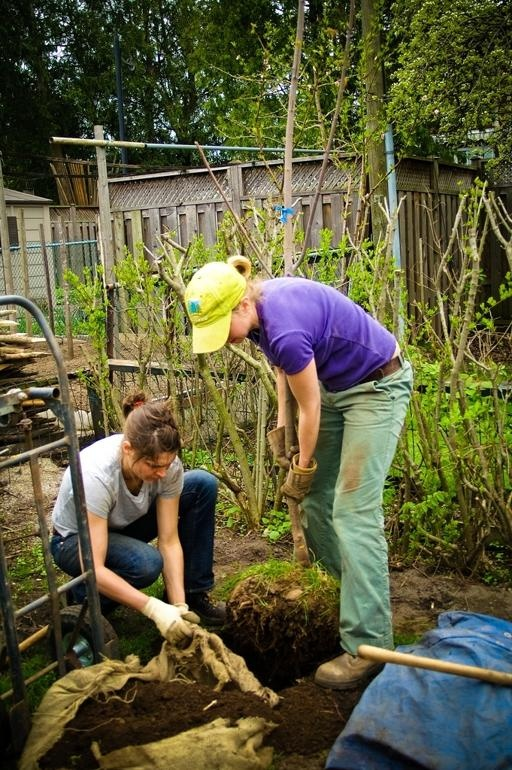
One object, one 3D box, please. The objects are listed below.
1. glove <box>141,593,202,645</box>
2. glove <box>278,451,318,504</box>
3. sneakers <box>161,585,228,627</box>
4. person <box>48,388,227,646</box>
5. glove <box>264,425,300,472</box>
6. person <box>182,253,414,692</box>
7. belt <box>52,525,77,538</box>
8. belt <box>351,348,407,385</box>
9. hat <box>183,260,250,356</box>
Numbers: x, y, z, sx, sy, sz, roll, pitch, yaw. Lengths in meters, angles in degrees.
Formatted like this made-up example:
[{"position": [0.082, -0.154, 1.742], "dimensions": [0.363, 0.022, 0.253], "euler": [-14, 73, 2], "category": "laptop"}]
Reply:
[{"position": [-0.310, 0.814, 2.372], "dimensions": [0.198, 0.066, 0.151], "euler": [34, 27, 23], "category": "glove"}, {"position": [0.149, 0.363, 2.456], "dimensions": [0.080, 0.120, 0.098], "euler": [14, 7, 8], "category": "glove"}, {"position": [-0.275, 0.952, 2.982], "dimensions": [0.322, 0.140, 0.117], "euler": [14, 26, 14], "category": "sneakers"}, {"position": [-0.454, 0.565, 2.745], "dimensions": [0.647, 1.080, 0.712], "euler": [12, 26, 28], "category": "person"}, {"position": [0.118, 0.248, 2.605], "dimensions": [0.094, 0.173, 0.131], "euler": [-3, 1, -35], "category": "glove"}, {"position": [0.198, 0.277, 2.369], "dimensions": [0.623, 1.444, 0.724], "euler": [4, 10, 27], "category": "person"}, {"position": [-0.731, 0.566, 2.584], "dimensions": [0.062, 0.039, 0.080], "euler": [2, -2, -39], "category": "belt"}, {"position": [0.437, -0.063, 2.365], "dimensions": [0.141, 0.051, 0.107], "euler": [-39, 6, 1], "category": "belt"}, {"position": [-0.121, -0.245, 2.109], "dimensions": [0.197, 0.278, 0.146], "euler": [-1, 9, -6], "category": "hat"}]
